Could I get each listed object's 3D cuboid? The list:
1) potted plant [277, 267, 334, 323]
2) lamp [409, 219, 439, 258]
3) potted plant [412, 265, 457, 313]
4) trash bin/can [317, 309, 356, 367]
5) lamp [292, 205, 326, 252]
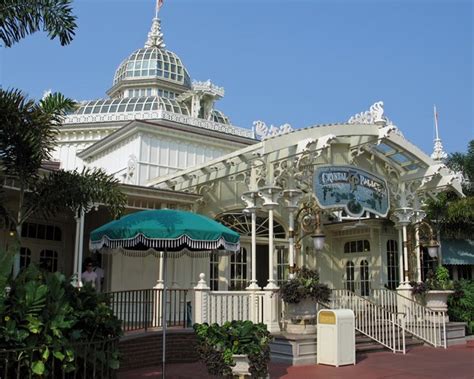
[{"bbox_3d":[1.735,2.721,13.782,1.276,1.537,1.302,9,-15,-33],"label":"potted plant"},{"bbox_3d":[6.165,1.692,17.970,1.250,1.172,0.413,0,-2,-30],"label":"lamp"},{"bbox_3d":[6.457,3.169,17.313,1.197,1.394,1.171,3,-7,25],"label":"potted plant"},{"bbox_3d":[2.365,3.561,12.948,0.915,1.310,0.979,-1,-11,8],"label":"trash bin/can"},{"bbox_3d":[2.211,1.209,16.626,0.485,1.411,1.608,-1,-6,-28],"label":"lamp"}]
